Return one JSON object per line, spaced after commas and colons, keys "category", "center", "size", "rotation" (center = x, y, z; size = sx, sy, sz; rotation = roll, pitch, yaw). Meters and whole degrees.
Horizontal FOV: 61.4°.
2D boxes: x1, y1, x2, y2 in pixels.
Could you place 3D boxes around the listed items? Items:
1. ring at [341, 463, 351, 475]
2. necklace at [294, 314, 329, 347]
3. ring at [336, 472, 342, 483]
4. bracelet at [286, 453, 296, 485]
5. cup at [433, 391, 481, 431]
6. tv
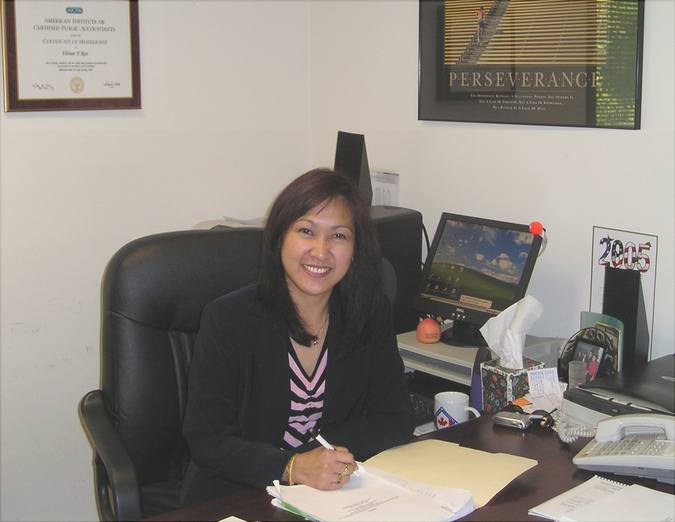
{"category": "ring", "center": [0.018, 0.462, 1.261], "size": [0.016, 0.019, 0.021], "rotation": [7, -7, -12]}
{"category": "necklace", "center": [-0.077, 0.200, 1.634], "size": [0.073, 0.036, 0.103], "rotation": [4, 31, -11]}
{"category": "ring", "center": [0.004, 0.476, 1.252], "size": [0.011, 0.016, 0.005], "rotation": [4, -4, -30]}
{"category": "bracelet", "center": [-0.112, 0.490, 1.328], "size": [0.017, 0.048, 0.035], "rotation": [-5, -11, 41]}
{"category": "cup", "center": [0.351, 0.437, 1.734], "size": [0.089, 0.108, 0.146], "rotation": [-3, 6, -33]}
{"category": "tv", "center": [0.534, 0.074, 2.104], "size": [0.432, 0.491, 0.247], "rotation": [11, 10, 44]}
